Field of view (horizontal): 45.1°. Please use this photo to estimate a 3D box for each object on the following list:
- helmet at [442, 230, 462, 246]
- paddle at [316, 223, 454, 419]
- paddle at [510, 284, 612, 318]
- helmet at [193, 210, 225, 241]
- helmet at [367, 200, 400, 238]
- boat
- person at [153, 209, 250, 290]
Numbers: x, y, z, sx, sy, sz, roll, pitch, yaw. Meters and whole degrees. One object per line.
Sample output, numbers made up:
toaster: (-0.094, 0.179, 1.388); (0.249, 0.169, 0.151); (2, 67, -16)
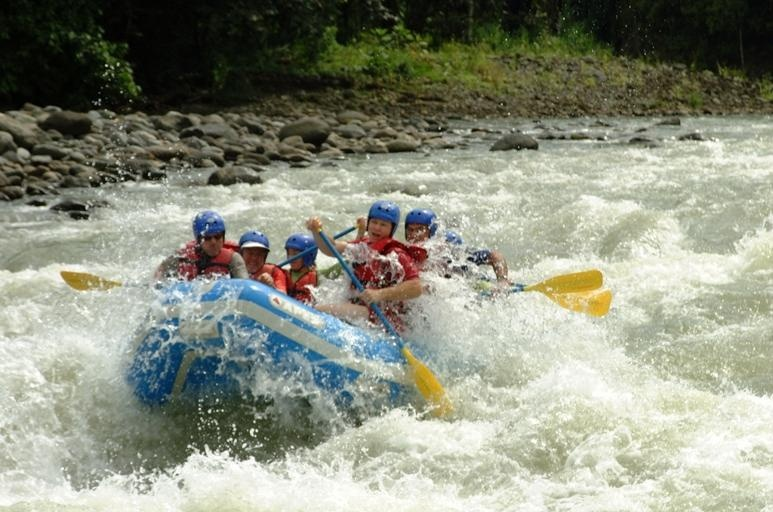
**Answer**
helmet: (0.983, -0.234, 13.651); (0.204, 0.145, 0.254); (28, 1, 20)
paddle: (0.003, 0.977, 12.415); (0.303, 0.171, 3.059); (-32, 74, -14)
paddle: (2.697, 0.680, 13.384); (1.020, 0.346, 0.269); (4, 7, 24)
helmet: (-2.510, -0.372, 12.932); (0.314, 0.446, 0.366); (-6, 61, -31)
helmet: (0.004, -0.519, 12.944); (0.373, 0.480, 0.498); (7, -1, 15)
boat: (-1.492, 1.333, 11.944); (2.582, 0.889, 1.764); (33, -18, -26)
person: (-2.524, -0.023, 12.824); (0.850, 0.523, 1.199); (8, 29, -11)
